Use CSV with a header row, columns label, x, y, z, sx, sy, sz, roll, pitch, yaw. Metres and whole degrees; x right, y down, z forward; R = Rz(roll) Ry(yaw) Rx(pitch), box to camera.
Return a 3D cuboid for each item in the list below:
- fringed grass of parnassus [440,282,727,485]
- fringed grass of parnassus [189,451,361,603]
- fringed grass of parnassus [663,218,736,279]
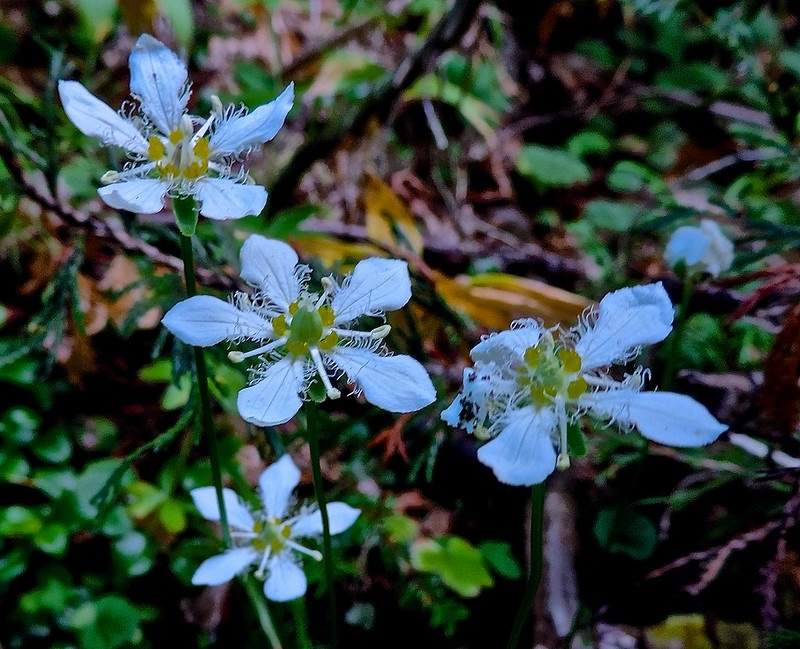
label,x,y,z,sx,sy,sz,roll,pitch,yaw
fringed grass of parnassus,0.485,0.207,2.245,0.185,0.501,0.469,19,80,39
fringed grass of parnassus,-0.369,0.593,2.553,0.353,0.248,0.431,-3,37,12
fringed grass of parnassus,0.918,-0.227,2.674,0.189,0.161,0.088,-3,36,11
